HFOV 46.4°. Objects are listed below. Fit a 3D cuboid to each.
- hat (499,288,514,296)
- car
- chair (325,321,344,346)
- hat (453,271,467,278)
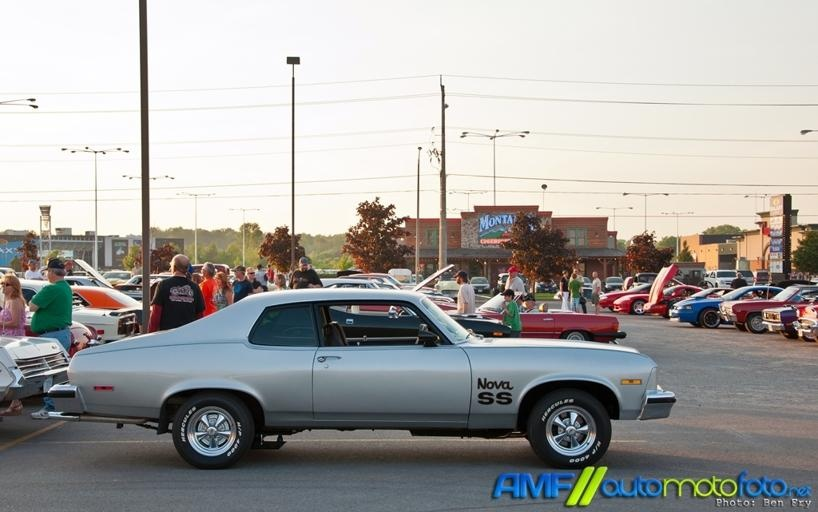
[{"bbox_3d":[2.181,0.813,21.191,0.292,0.133,0.193,-1,2,1],"label":"hat"},{"bbox_3d":[-0.854,1.537,15.274,8.999,2.218,3.480,-1,-1,-2],"label":"car"},{"bbox_3d":[-1.149,1.182,14.450,0.191,0.246,0.330,-18,7,-11],"label":"chair"},{"bbox_3d":[1.260,0.430,22.558,0.214,0.104,0.140,20,37,-14],"label":"hat"}]
